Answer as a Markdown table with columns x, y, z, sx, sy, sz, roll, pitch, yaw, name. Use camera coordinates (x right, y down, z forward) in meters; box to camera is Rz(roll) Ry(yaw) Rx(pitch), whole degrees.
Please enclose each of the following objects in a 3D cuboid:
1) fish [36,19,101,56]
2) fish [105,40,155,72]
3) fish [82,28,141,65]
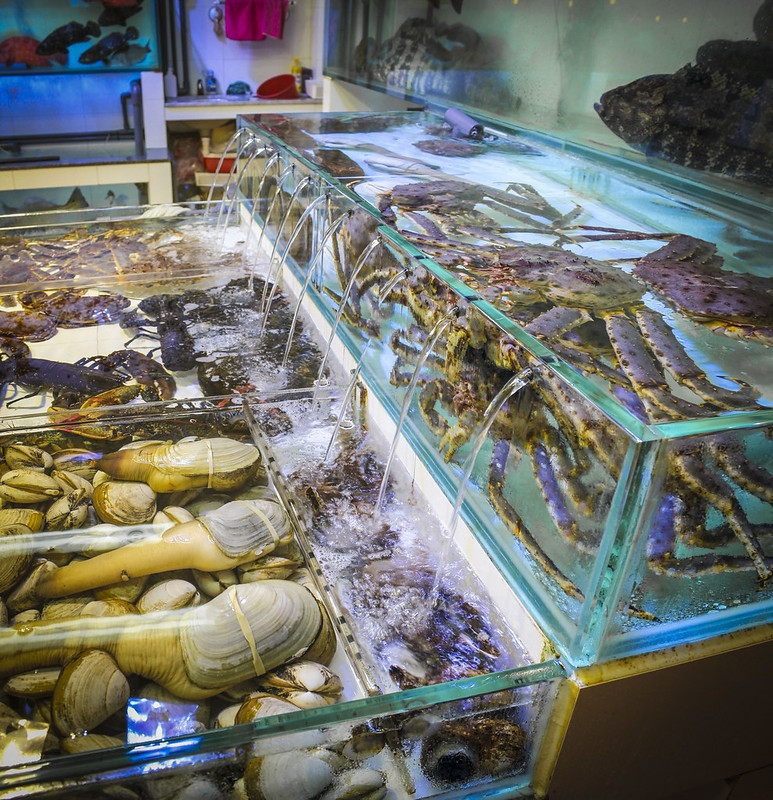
| x | y | z | sx | sy | sz | roll | pitch | yaw | name |
| --- | --- | --- | --- | --- | --- | --- | --- | --- | --- |
| -2.327 | -2.652 | 4.533 | 0.496 | 0.187 | 0.103 | -19 | 11 | -11 | fish |
| -2.047 | -2.625 | 4.761 | 0.505 | 0.212 | 0.114 | -13 | 25 | -24 | fish |
| -2.065 | -2.649 | 4.641 | 0.324 | 0.108 | 0.114 | -24 | 66 | -1 | fish |
